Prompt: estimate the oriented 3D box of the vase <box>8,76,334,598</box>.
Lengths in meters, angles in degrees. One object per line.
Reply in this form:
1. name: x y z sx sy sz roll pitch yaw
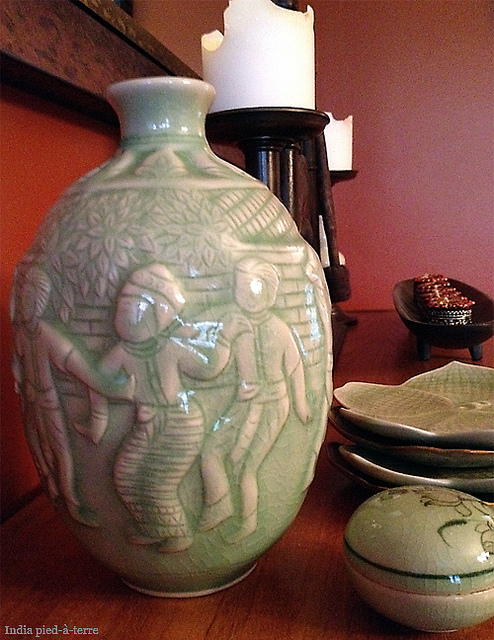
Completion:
1. vase: -0.049 0.047 0.563 0.248 0.421 0.196 2 8 28
